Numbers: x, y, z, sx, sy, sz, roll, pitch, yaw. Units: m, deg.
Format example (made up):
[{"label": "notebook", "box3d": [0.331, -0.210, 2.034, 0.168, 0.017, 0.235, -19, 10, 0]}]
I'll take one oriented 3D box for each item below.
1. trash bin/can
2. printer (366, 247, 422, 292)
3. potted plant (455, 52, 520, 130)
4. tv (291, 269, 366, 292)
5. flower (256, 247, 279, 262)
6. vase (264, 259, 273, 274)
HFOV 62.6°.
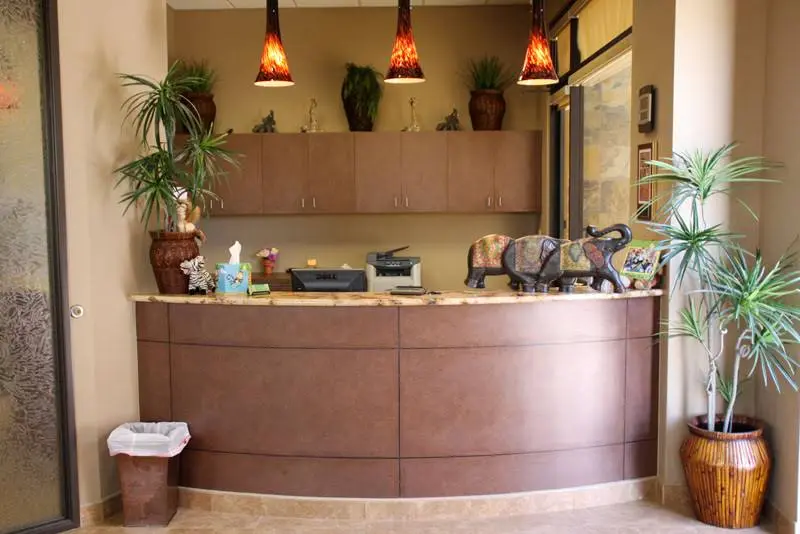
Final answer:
[{"label": "trash bin/can", "box3d": [-1.777, 1.465, 4.693, 0.495, 0.661, 0.347, 1, 13, -1]}, {"label": "printer", "box3d": [-0.064, 0.045, 6.165, 0.551, 0.530, 0.404, 0, -2, 0]}, {"label": "potted plant", "box3d": [0.945, -1.875, 7.069, 0.583, 0.805, 0.465, 2, 13, 5]}, {"label": "tv", "box3d": [-0.609, 0.115, 5.418, 0.586, 0.175, 0.120, 1, 13, 0]}, {"label": "flower", "box3d": [-1.481, -0.131, 7.284, 0.242, 0.139, 0.203, -1, 13, -12]}, {"label": "vase", "box3d": [-1.451, 0.006, 7.312, 0.121, 0.136, 0.127, 0, -3, -4]}]
